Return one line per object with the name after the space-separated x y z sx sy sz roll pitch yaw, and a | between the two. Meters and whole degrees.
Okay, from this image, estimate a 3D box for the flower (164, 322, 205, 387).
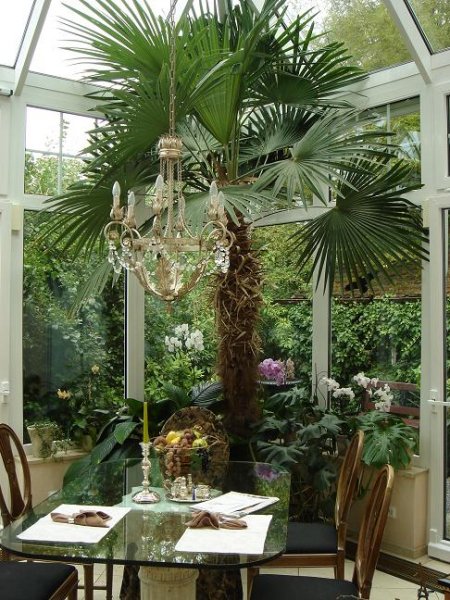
-0.308 0.412 3.763 0.315 0.480 0.769 2 -3 -3 | flower

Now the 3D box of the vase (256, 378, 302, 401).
0.375 0.622 3.545 0.263 0.160 0.256 1 -13 -3 | vase

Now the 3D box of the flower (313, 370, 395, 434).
0.843 0.663 3.348 0.399 0.441 0.369 4 -15 -5 | flower

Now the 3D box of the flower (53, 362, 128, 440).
-0.951 0.693 3.754 0.517 0.557 0.473 4 2 0 | flower

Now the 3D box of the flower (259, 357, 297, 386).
0.372 0.509 3.641 0.220 0.147 0.212 4 -9 -6 | flower
